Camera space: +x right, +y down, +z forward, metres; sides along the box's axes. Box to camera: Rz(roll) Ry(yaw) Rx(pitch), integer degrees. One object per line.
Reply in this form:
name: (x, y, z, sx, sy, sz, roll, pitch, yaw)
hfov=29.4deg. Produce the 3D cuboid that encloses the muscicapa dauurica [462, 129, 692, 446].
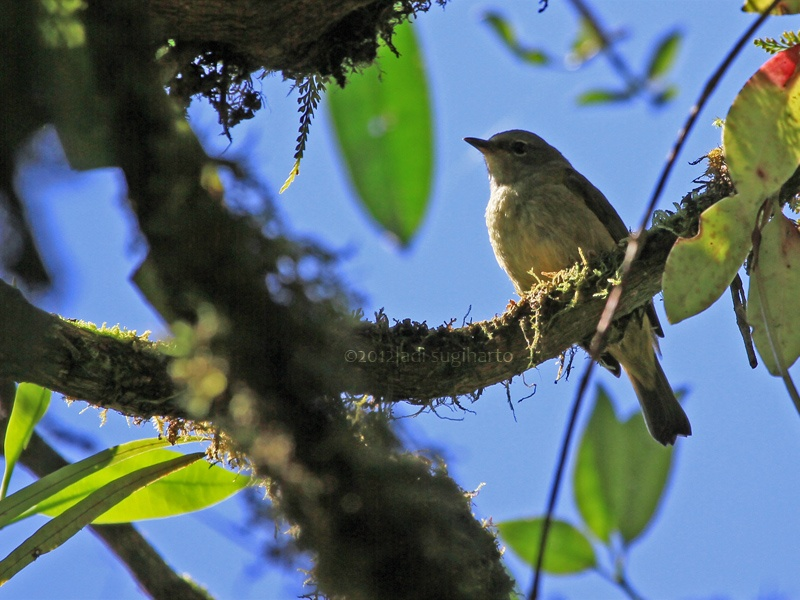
muscicapa dauurica: (0.650, 0.006, 5.314, 1.065, 0.589, 0.382, 45, -54, -5)
